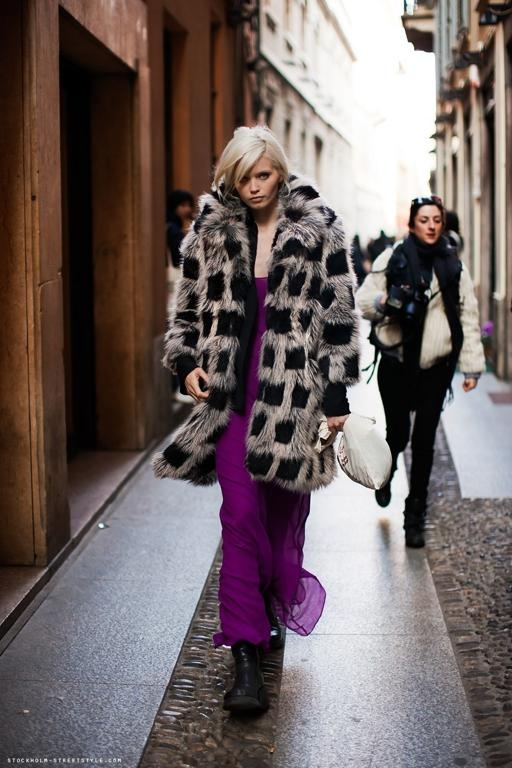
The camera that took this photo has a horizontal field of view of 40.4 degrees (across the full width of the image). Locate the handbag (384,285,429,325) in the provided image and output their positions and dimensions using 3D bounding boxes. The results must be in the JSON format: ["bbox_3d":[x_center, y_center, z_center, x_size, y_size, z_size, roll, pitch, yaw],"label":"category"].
[{"bbox_3d":[0.748,-0.395,3.466,0.219,0.183,0.292,0,1,11],"label":"handbag"}]

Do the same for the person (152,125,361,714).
[{"bbox_3d":[0.044,0.090,2.063,0.532,1.588,0.548,-1,1,-28],"label":"person"}]

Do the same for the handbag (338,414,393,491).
[{"bbox_3d":[0.313,0.201,2.054,0.160,0.225,0.074,-18,12,-13],"label":"handbag"}]

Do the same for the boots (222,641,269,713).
[{"bbox_3d":[-0.025,0.788,1.831,0.113,0.166,0.228,0,1,1],"label":"boots"}]
